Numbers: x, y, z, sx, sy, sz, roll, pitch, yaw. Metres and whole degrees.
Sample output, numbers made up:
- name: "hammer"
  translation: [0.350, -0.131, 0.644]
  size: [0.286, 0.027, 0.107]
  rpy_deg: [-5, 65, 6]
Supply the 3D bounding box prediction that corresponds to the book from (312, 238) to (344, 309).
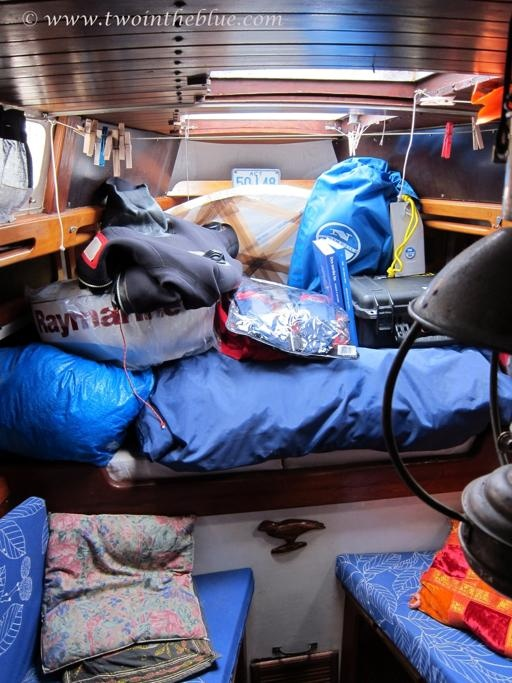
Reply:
- name: "book"
  translation: [0.261, -0.246, 1.789]
  size: [0.080, 0.230, 0.243]
  rpy_deg: [-11, 24, 0]
